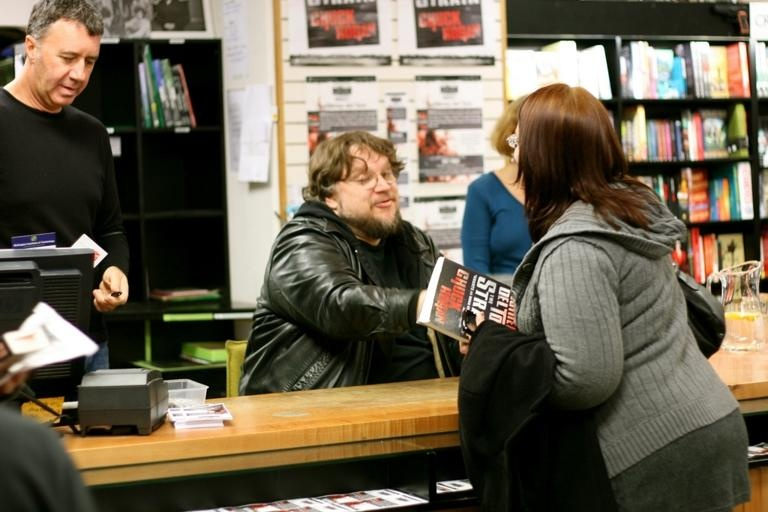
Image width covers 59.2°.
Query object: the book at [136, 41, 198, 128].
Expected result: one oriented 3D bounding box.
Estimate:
[{"bbox_3d":[-1.551,-1.213,4.771,0.366,0.666,0.549,-10,3,-7],"label":"book"}]
